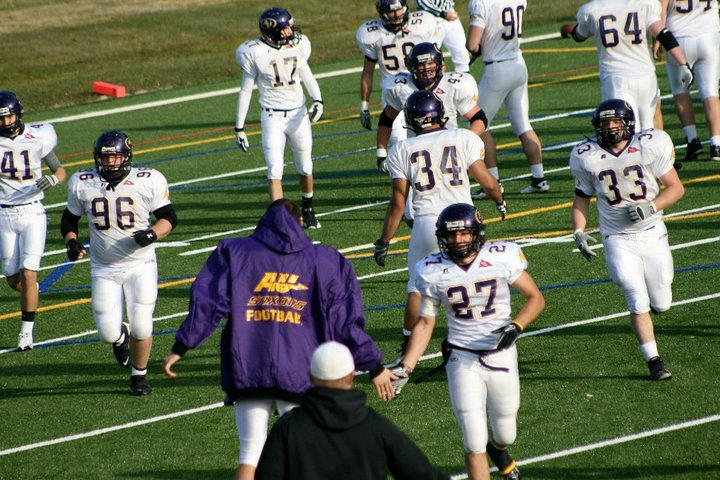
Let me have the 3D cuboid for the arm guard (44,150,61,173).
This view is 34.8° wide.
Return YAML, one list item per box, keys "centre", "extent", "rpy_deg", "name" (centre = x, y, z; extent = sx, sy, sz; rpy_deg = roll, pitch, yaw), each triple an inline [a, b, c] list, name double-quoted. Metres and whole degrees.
- centre: [-3.651, -0.967, 13.588]
  extent: [0.197, 0.324, 0.105]
  rpy_deg: [5, 3, -26]
  name: "arm guard"

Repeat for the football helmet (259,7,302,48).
- centre: [-1.022, -2.775, 14.853]
  extent: [0.553, 0.424, 0.413]
  rpy_deg: [11, 31, 13]
  name: "football helmet"

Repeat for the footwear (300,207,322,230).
- centre: [-0.654, -0.287, 15.302]
  extent: [0.155, 0.166, 0.377]
  rpy_deg: [-13, 25, -16]
  name: "footwear"

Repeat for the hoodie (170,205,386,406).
- centre: [-0.785, 0.704, 11.252]
  extent: [2.097, 2.626, 0.771]
  rpy_deg: [3, 6, 7]
  name: "hoodie"

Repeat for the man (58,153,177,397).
- centre: [-2.584, 0.305, 12.321]
  extent: [1.329, 2.733, 1.287]
  rpy_deg: [-2, 0, 12]
  name: "man"

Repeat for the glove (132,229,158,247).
- centre: [-2.241, -0.017, 12.003]
  extent: [0.236, 0.182, 0.350]
  rpy_deg: [-6, 9, 1]
  name: "glove"

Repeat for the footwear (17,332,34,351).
- centre: [-3.870, 1.160, 13.252]
  extent: [0.181, 0.215, 0.109]
  rpy_deg: [-9, 9, -20]
  name: "footwear"

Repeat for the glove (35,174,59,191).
- centre: [-3.634, -0.668, 13.321]
  extent: [0.232, 0.148, 0.084]
  rpy_deg: [-22, -13, -11]
  name: "glove"

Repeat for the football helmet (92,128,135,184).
- centre: [-2.629, -0.956, 12.262]
  extent: [0.434, 0.493, 0.576]
  rpy_deg: [-1, -8, -17]
  name: "football helmet"

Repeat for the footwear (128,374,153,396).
- centre: [-2.333, 1.563, 12.283]
  extent: [0.151, 0.125, 0.268]
  rpy_deg: [0, 0, -28]
  name: "footwear"

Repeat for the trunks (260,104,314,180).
- centre: [-0.943, -1.314, 14.927]
  extent: [0.402, 1.305, 0.642]
  rpy_deg: [-4, 24, -14]
  name: "trunks"

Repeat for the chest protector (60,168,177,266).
- centre: [-2.597, -0.263, 12.358]
  extent: [1.202, 1.041, 0.666]
  rpy_deg: [1, 11, 8]
  name: "chest protector"

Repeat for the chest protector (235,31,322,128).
- centre: [-1.101, -2.070, 15.084]
  extent: [1.359, 1.198, 0.492]
  rpy_deg: [-15, 24, -34]
  name: "chest protector"
